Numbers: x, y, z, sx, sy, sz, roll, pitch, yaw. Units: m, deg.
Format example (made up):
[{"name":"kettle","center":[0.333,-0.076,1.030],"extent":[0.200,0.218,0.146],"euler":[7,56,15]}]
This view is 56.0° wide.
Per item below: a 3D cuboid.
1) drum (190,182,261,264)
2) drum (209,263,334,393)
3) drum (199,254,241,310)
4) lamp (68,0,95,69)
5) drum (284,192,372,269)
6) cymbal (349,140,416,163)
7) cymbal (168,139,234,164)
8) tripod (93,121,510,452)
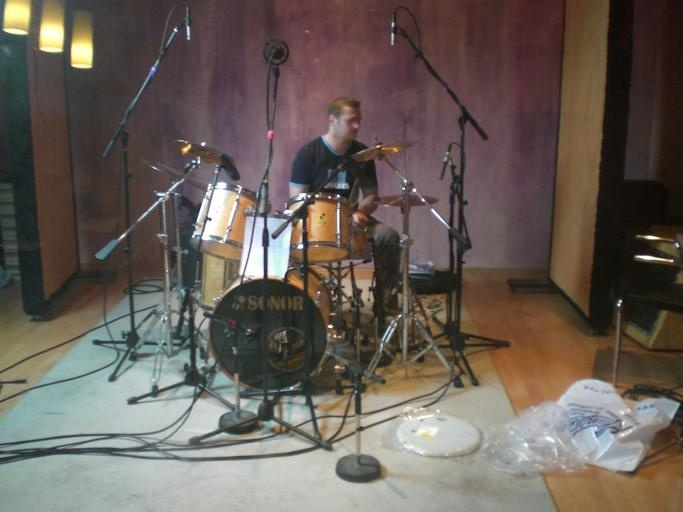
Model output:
[{"name":"drum","center":[-0.754,-0.241,4.043],"extent":[0.362,0.363,0.358],"euler":[19,-9,-32]},{"name":"drum","center":[-0.415,0.442,3.817],"extent":[0.694,0.751,0.286],"euler":[1,6,2]},{"name":"drum","center":[-0.728,0.150,4.207],"extent":[0.244,0.319,0.246],"euler":[18,5,-2]},{"name":"lamp","center":[-2.050,-1.708,5.065],"extent":[0.165,0.403,0.086],"euler":[-6,12,-31]},{"name":"drum","center":[-0.076,-0.139,3.931],"extent":[0.417,0.321,0.421],"euler":[-3,-8,0]},{"name":"cymbal","center":[0.188,-0.595,3.651],"extent":[0.249,0.109,0.499],"euler":[8,12,38]},{"name":"cymbal","center":[-0.817,-0.595,3.696],"extent":[0.299,0.065,0.292],"euler":[18,-5,34]},{"name":"tripod","center":[-0.038,0.045,4.267],"extent":[1.900,1.827,1.977],"euler":[-2,-2,11]}]
